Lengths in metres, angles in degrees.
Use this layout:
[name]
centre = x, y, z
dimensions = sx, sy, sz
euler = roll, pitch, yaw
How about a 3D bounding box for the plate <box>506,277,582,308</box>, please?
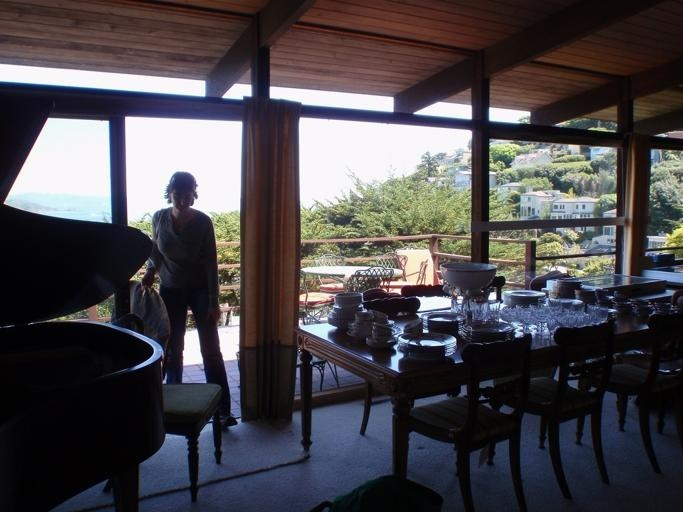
[plate]
centre = 1.532, 0.294, 4.146
dimensions = 0.449, 0.144, 0.281
euler = -1, 1, 2
